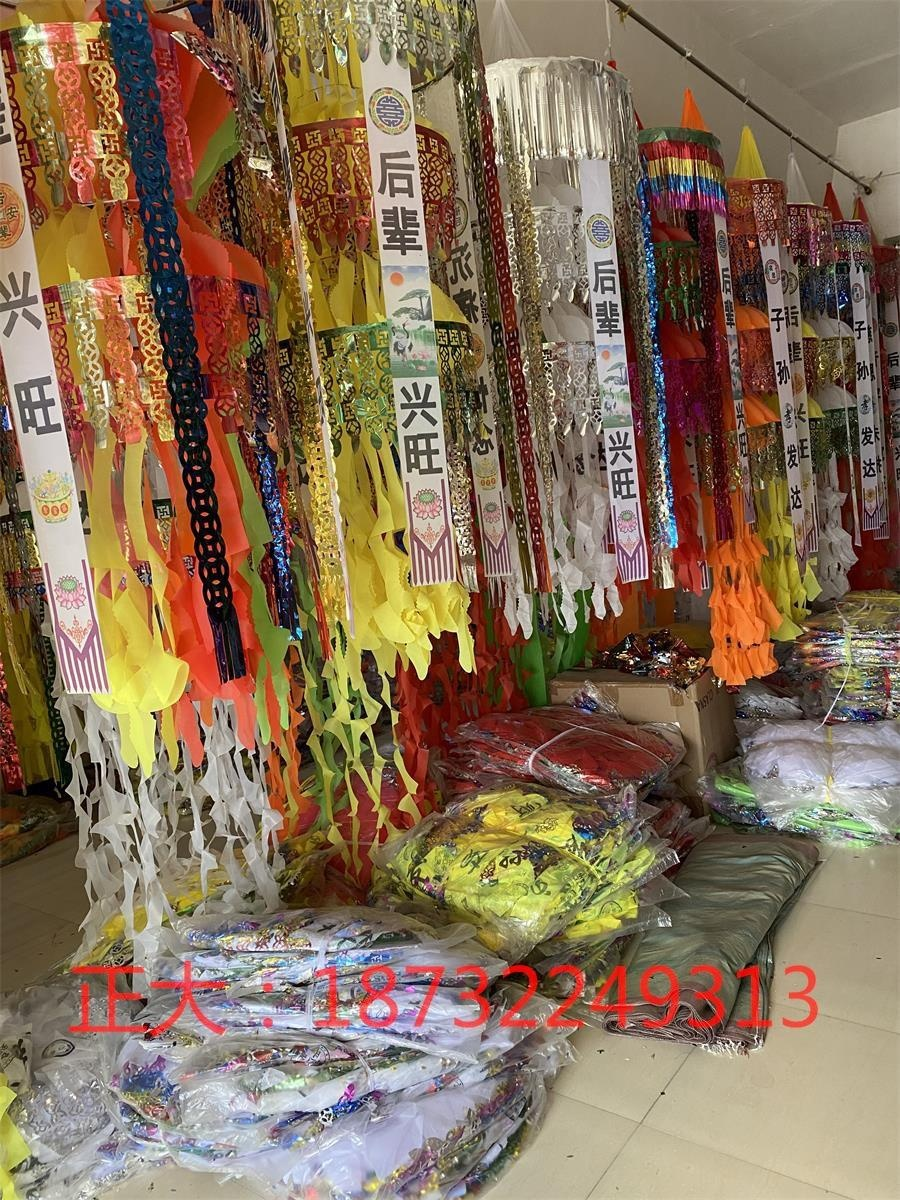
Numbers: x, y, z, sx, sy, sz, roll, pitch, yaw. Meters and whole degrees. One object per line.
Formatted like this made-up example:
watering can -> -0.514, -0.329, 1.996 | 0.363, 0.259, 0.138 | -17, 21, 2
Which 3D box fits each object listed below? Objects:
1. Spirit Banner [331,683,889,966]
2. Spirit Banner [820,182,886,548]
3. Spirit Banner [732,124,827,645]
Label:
Spirit Banner -> 0.301, 0.480, 2.058 | 0.607, 0.284, 0.838 | 10, 21, 38
Spirit Banner -> 1.527, -0.944, 3.204 | 0.209, 1.039, 0.211 | -9, 10, -16
Spirit Banner -> 0.944, -0.700, 2.634 | 0.268, 1.516, 0.303 | 8, 26, 38
